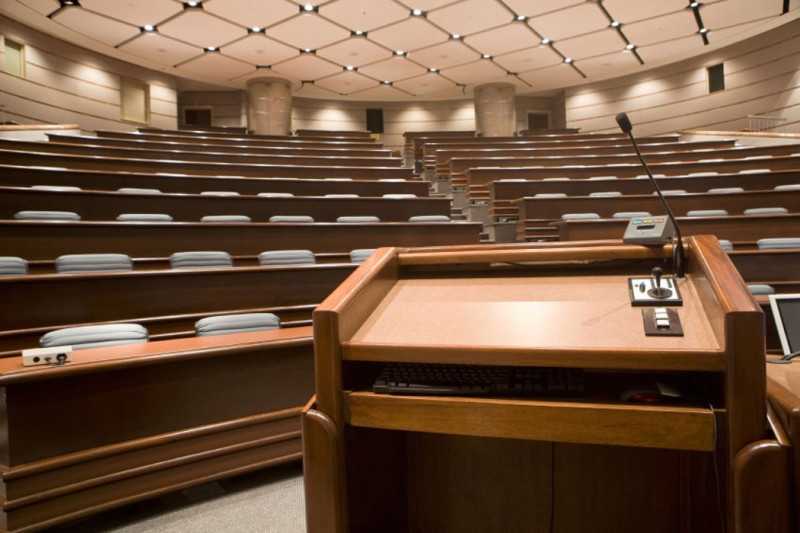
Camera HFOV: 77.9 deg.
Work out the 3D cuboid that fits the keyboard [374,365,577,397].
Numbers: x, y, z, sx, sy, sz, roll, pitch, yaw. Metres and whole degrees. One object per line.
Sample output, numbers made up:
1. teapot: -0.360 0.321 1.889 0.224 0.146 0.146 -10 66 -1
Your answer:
1. keyboard: 0.189 0.270 1.201 0.487 0.059 0.094 -1 -1 9
